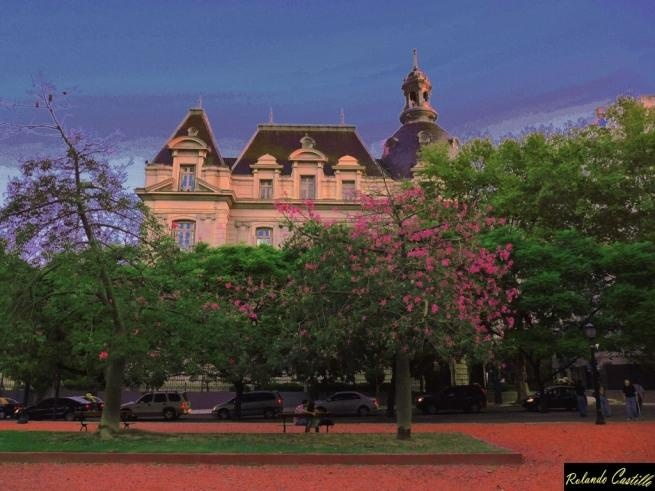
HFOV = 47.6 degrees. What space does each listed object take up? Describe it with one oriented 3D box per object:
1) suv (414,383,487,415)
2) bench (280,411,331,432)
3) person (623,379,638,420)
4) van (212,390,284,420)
[{"bbox_3d":[7.786,9.574,46.664,3.969,1.665,1.851,1,-11,-6],"label":"suv"},{"bbox_3d":[-0.981,7.768,32.971,1.654,0.657,1.174,-2,-31,5],"label":"bench"},{"bbox_3d":[15.242,7.641,37.216,0.536,1.870,1.322,-8,-15,18],"label":"person"},{"bbox_3d":[-4.322,9.011,43.966,4.882,1.965,2.337,2,-17,-4],"label":"van"}]
